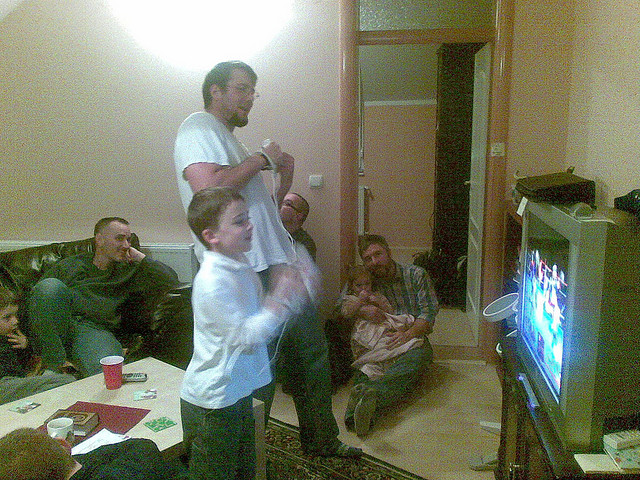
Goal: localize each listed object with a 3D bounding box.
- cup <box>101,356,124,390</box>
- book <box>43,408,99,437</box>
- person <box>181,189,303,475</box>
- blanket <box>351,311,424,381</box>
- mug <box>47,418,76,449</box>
[{"bbox_3d":[-0.690,0.443,1.667,0.081,0.080,0.073,1,-11,-35],"label":"cup"},{"bbox_3d":[-0.684,0.501,1.386,0.133,0.028,0.127,5,10,7],"label":"book"},{"bbox_3d":[-0.192,0.237,1.254,0.351,0.734,0.228,-7,7,-14],"label":"person"},{"bbox_3d":[0.321,0.482,2.312,0.311,0.280,0.128,14,-11,15],"label":"blanket"},{"bbox_3d":[-0.688,0.516,1.319,0.061,0.062,0.095,0,-13,-6],"label":"mug"}]
